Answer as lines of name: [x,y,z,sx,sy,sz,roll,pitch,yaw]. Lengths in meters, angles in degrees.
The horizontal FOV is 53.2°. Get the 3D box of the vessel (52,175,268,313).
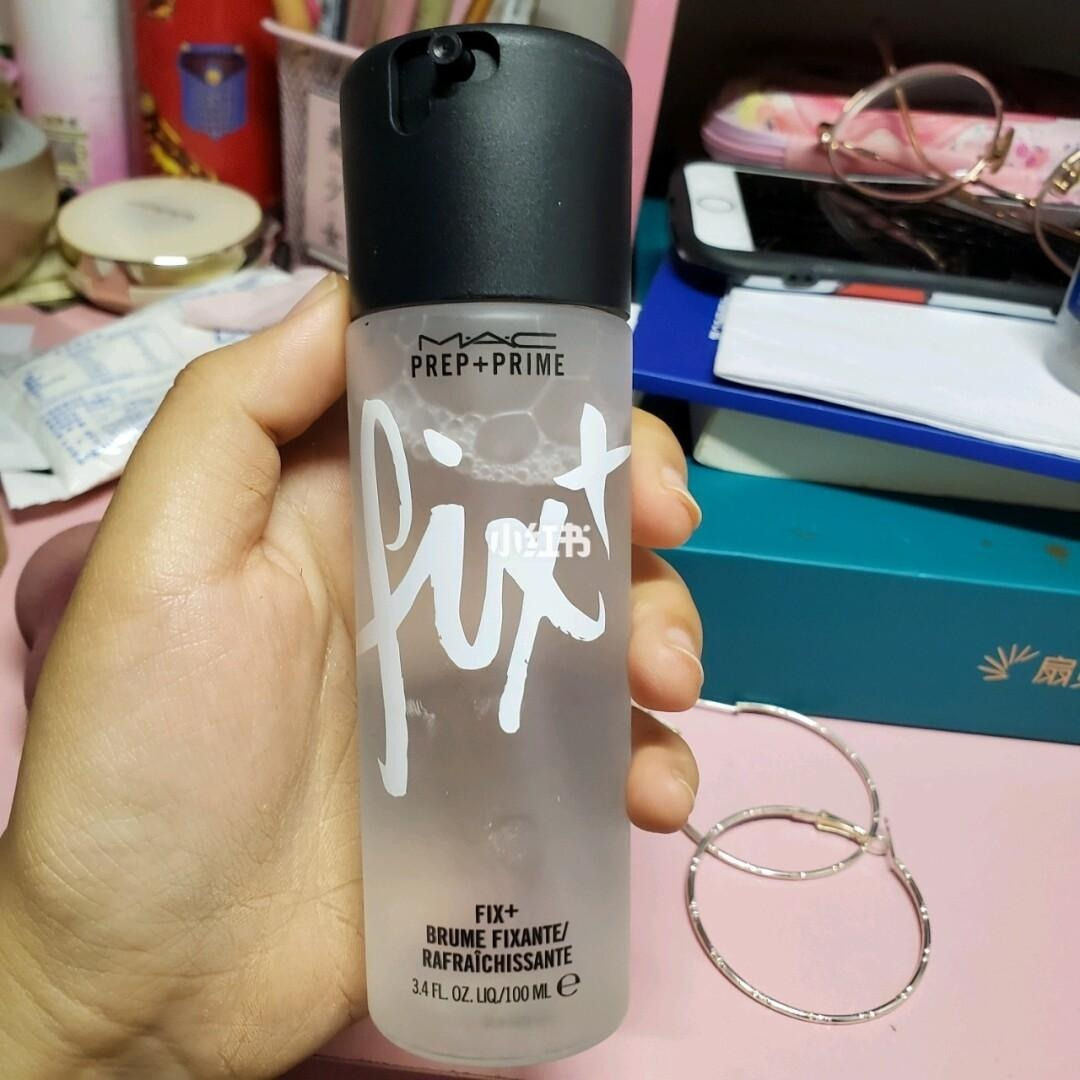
vessel: [-0.215,-0.169,0.623,0.097,0.046,0.105,36,51,29]

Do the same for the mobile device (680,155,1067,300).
mobile device: [0.167,-0.154,0.537,0.130,0.015,0.073,14,38,9]
